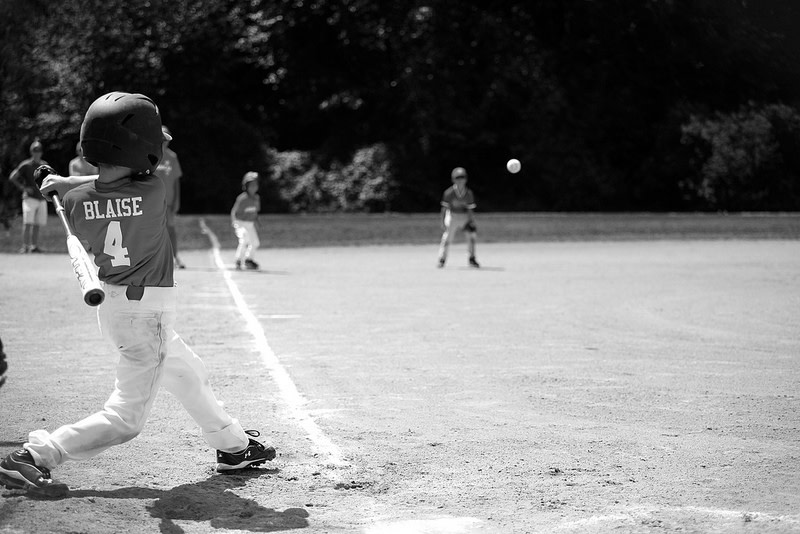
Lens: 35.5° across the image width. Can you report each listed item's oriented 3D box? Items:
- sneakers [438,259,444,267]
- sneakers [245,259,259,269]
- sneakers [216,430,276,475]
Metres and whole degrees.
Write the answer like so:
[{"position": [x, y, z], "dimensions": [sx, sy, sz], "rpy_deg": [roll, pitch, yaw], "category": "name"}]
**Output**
[{"position": [0.630, -0.070, 19.255], "dimensions": [0.099, 0.114, 0.113], "rpy_deg": [-14, 42, 14], "category": "sneakers"}, {"position": [-2.253, -0.048, 18.767], "dimensions": [0.137, 0.060, 0.187], "rpy_deg": [13, 7, -32], "category": "sneakers"}, {"position": [-1.190, 1.383, 9.450], "dimensions": [0.195, 0.246, 0.528], "rpy_deg": [8, 10, 37], "category": "sneakers"}]
